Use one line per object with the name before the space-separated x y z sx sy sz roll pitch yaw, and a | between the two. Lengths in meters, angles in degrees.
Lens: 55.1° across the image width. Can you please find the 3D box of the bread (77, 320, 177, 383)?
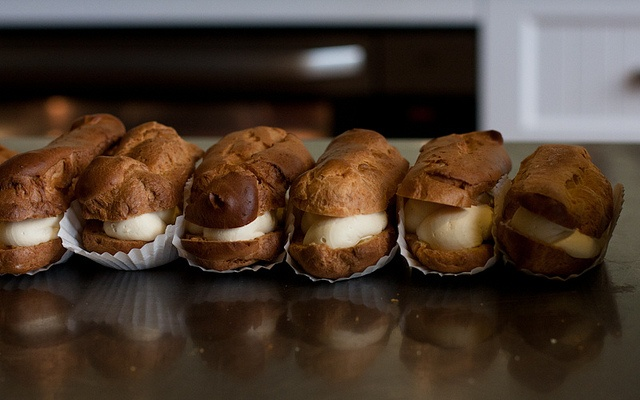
bread | -0.625 0.498 2.021 0.193 0.072 0.178 6 20 17

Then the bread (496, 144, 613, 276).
bread | 0.876 0.039 2.238 0.340 0.262 0.482 1 35 35

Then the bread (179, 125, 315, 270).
bread | -0.274 0.002 2.396 0.372 0.228 0.579 1 41 4
